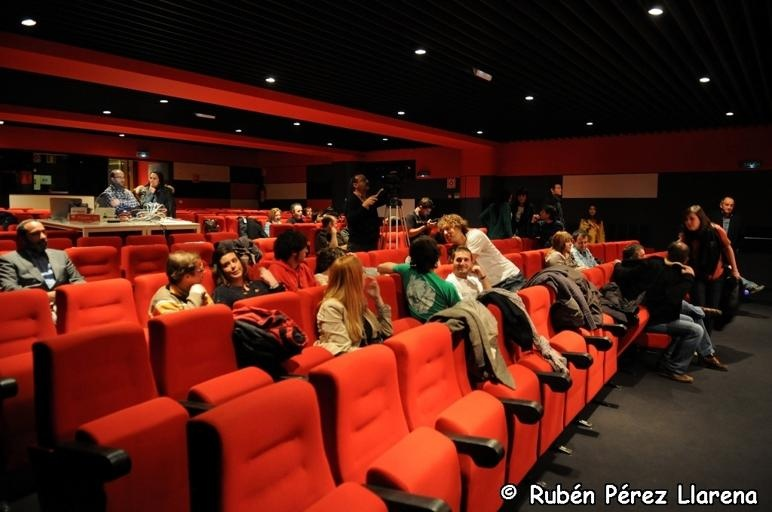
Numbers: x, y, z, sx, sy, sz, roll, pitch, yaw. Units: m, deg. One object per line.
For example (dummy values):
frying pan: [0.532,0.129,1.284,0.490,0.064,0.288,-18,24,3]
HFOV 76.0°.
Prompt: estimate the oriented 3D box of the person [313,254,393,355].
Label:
person: [-0.274,0.385,3.968,0.635,0.888,0.765,-2,4,10]

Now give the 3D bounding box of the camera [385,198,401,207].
camera: [0.079,-0.697,6.423,0.263,0.131,0.361,0,3,3]

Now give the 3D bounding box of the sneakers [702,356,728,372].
sneakers: [3.474,1.140,5.237,0.110,0.089,0.220,-2,2,-35]

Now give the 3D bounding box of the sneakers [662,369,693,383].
sneakers: [2.909,1.197,4.970,0.271,0.118,0.103,-2,-3,42]

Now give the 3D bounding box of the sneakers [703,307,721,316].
sneakers: [3.692,0.626,5.602,0.276,0.098,0.151,3,-4,-25]

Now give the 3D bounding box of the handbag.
handbag: [-0.803,0.535,3.355,0.386,0.165,0.367,7,10,10]
